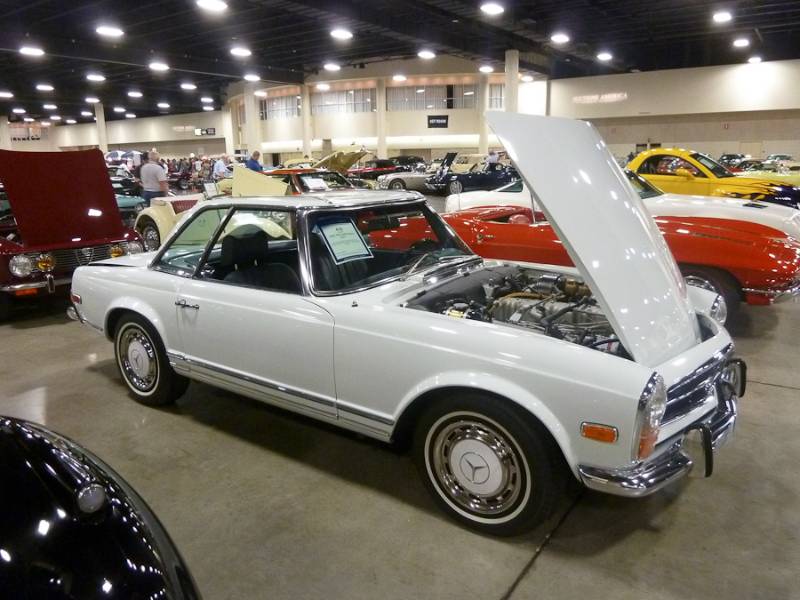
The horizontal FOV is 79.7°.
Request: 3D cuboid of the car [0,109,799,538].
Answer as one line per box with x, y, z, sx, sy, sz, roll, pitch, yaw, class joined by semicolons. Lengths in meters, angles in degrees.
-0.462;-0.060;3.936;5.100;2.147;2.267;8;16;36;car
